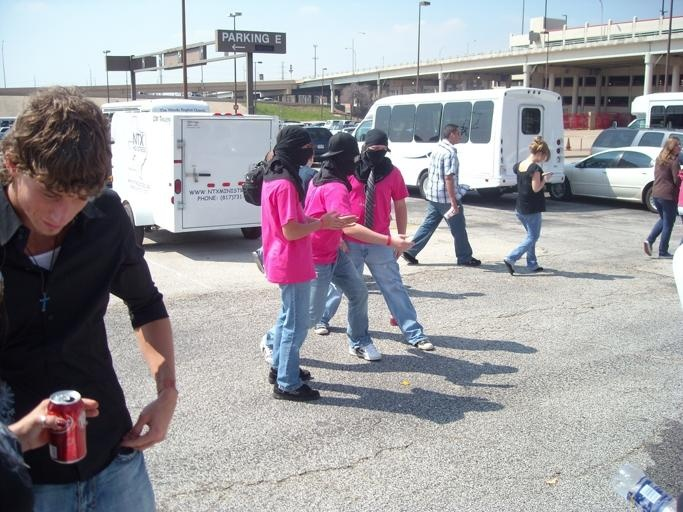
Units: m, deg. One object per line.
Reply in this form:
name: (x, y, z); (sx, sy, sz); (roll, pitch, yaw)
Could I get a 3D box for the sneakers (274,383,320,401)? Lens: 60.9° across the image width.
sneakers: (-0.388, 1.206, 5.023); (0.348, 0.148, 0.155); (1, 5, -8)

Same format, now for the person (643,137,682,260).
person: (5.814, -1.078, 10.467); (0.462, 2.082, 1.063); (6, 14, 28)

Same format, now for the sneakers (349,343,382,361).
sneakers: (0.253, 0.988, 5.964); (0.285, 0.132, 0.152); (5, 9, 42)

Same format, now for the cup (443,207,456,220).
cup: (1.836, -0.724, 9.901); (0.180, 0.222, 0.256); (-2, 13, -10)

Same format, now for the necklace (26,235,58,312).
necklace: (-0.969, 0.077, 1.925); (0.092, 0.193, 0.085); (-9, 15, -37)

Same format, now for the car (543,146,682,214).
car: (7.761, -2.382, 16.942); (1.600, 1.243, 3.469); (-7, 16, -30)

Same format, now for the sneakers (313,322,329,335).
sneakers: (-0.234, 0.837, 6.689); (0.115, 0.104, 0.235); (0, -3, -25)

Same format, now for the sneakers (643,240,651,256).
sneakers: (5.428, -0.130, 10.339); (0.116, 0.274, 0.098); (-40, 22, -16)

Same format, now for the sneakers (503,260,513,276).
sneakers: (2.667, 0.202, 9.258); (0.089, 0.285, 0.117); (-18, -5, 2)

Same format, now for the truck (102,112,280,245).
truck: (-3.142, -1.883, 11.324); (2.225, 2.176, 3.090); (-8, 21, -34)

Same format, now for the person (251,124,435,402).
person: (-0.155, 0.007, 5.345); (0.886, 2.314, 1.358); (9, 15, 36)

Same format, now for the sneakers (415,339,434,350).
sneakers: (0.883, 0.940, 6.134); (0.089, 0.081, 0.194); (-5, 2, -27)

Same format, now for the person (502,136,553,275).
person: (3.064, -0.838, 9.515); (0.576, 2.157, 1.275); (4, 13, 19)

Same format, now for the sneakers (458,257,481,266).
sneakers: (2.153, 0.113, 9.852); (0.377, 0.176, 0.159); (0, 12, 0)

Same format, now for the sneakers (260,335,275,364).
sneakers: (-0.745, 0.935, 5.692); (0.083, 0.293, 0.163); (-1, -15, -37)
